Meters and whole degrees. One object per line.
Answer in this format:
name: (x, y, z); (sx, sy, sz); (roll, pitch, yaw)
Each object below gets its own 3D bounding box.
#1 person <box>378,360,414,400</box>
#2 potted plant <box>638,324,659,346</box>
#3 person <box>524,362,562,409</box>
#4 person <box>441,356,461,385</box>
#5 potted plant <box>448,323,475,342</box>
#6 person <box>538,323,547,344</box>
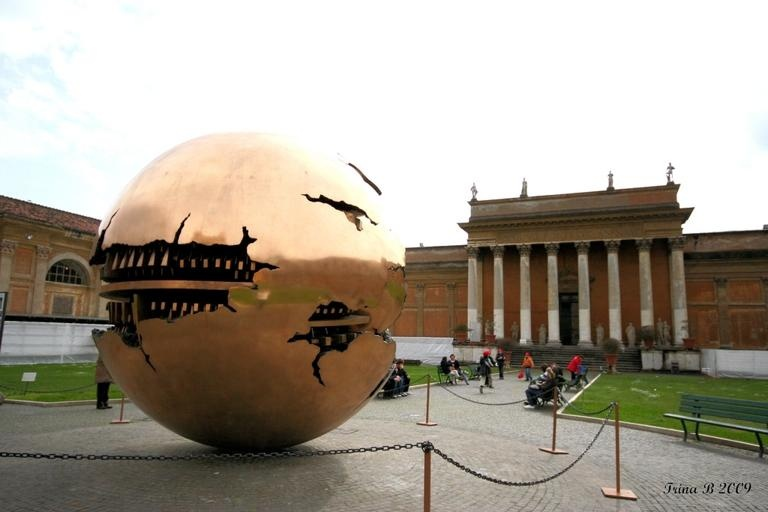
person: (0.452, 4.484, 21.074); (0.807, 1.379, 2.065); (4, -7, 16)
potted plant: (18.229, 5.487, 39.201); (1.390, 1.469, 1.448); (-2, 0, 4)
person: (5.195, 4.290, 18.824); (1.464, 1.414, 0.855); (12, -9, -43)
person: (3.027, 5.236, 26.223); (0.886, 1.128, 2.413); (5, -6, 6)
potted plant: (5.722, 5.740, 42.603); (1.557, 1.307, 1.451); (-1, -3, 3)
person: (12.052, 5.952, 43.264); (0.552, 1.466, 1.567); (5, -7, 13)
